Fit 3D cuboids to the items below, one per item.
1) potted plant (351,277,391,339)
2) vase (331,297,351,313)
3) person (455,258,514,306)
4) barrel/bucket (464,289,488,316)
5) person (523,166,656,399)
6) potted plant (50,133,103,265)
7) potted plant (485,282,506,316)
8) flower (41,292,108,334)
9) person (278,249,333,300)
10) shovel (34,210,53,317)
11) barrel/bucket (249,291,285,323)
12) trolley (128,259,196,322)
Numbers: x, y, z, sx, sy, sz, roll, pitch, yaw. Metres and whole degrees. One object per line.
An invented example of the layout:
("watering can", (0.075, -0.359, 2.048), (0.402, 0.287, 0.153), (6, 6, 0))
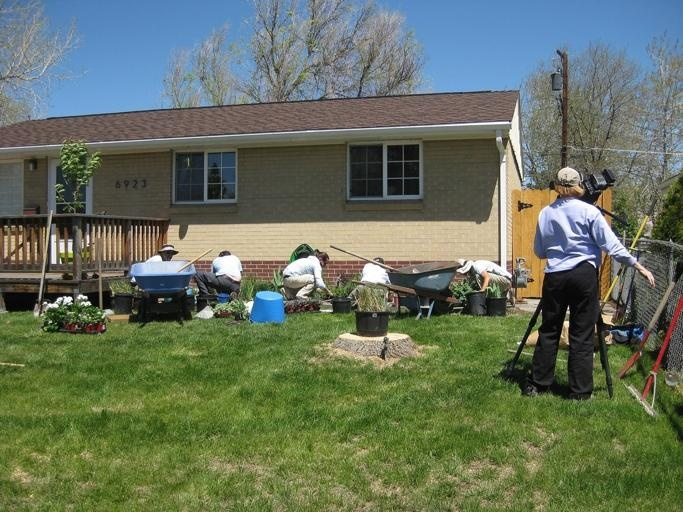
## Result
("potted plant", (0.417, 0.753, 10.385), (0.435, 0.656, 0.459), (3, 4, -29))
("vase", (-0.009, 0.887, 12.907), (0.263, 0.187, 0.282), (0, -6, 5))
("person", (2.720, 0.437, 13.189), (0.768, 0.851, 0.783), (1, 4, 15))
("barrel/bucket", (2.399, 0.839, 12.573), (0.366, 0.423, 0.405), (1, 13, 10))
("person", (2.918, 0.351, 8.347), (1.331, 2.723, 0.859), (1, -9, 24))
("potted plant", (-5.564, -1.736, 14.782), (0.779, 3.291, 0.896), (0, 3, 21))
("potted plant", (2.769, 0.763, 12.708), (0.477, 0.592, 0.508), (0, -8, -4))
("flower", (-4.402, 0.967, 11.698), (1.093, 0.495, 0.526), (1, 13, 9))
("person", (-0.652, 0.373, 13.434), (0.906, 1.042, 0.781), (-2, 8, -22))
("shovel", (-5.669, 0.216, 13.494), (0.318, 2.154, 0.473), (2, 5, -10))
("barrel/bucket", (-1.274, 0.895, 12.133), (0.588, 0.472, 0.597), (-1, 13, 0))
("trolley", (-3.151, 0.678, 12.640), (1.271, 1.113, 2.126), (-1, 3, -17))
